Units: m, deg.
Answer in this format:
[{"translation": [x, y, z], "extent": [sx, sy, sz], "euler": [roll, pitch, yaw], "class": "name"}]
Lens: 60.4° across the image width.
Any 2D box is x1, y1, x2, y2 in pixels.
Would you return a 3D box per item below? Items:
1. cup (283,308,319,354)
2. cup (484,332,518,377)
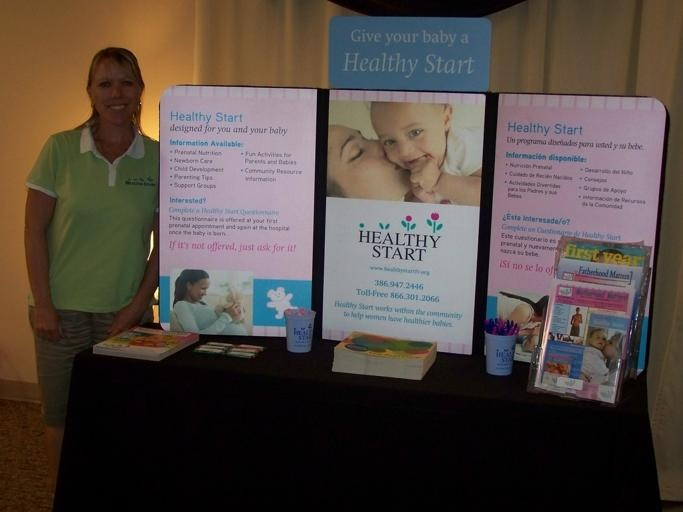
[{"translation": [-0.151, 0.267, 2.123], "extent": [0.130, 0.151, 0.134], "euler": [2, 5, 0], "class": "cup"}, {"translation": [0.512, 0.319, 1.907], "extent": [0.123, 0.140, 0.122], "euler": [1, 4, 0], "class": "cup"}]
